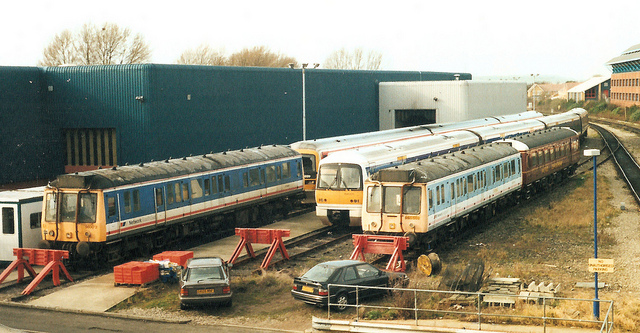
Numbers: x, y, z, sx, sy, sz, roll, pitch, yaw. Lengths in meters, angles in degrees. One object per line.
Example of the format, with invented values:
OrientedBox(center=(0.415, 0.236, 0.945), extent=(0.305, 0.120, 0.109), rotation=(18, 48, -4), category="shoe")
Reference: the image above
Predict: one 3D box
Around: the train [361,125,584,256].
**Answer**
OrientedBox(center=(11.705, 2.032, 51.428), extent=(3.760, 5.073, 26.224), rotation=(7, 17, 33), category="train")
